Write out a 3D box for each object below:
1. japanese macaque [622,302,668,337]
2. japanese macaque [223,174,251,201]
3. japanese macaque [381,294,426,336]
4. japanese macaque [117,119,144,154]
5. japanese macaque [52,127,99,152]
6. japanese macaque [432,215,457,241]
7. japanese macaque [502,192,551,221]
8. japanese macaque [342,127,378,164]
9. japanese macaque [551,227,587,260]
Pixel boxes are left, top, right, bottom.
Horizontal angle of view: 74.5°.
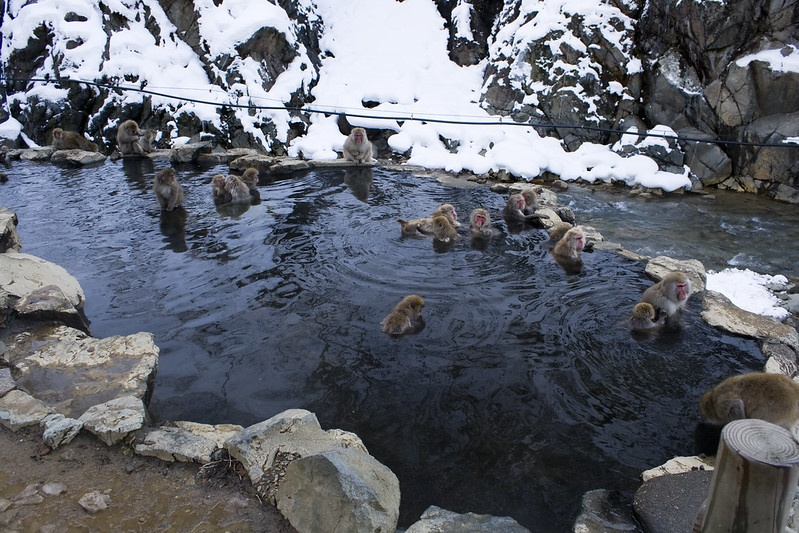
[{"bbox_3d":[3.675,0.758,7.755,0.652,0.404,0.353,-5,16,-18],"label":"japanese macaque"},{"bbox_3d":[-3.727,-1.729,11.921,0.551,0.602,0.294,-5,16,-17],"label":"japanese macaque"},{"bbox_3d":[0.048,0.695,7.774,0.394,0.281,0.649,15,33,27],"label":"japanese macaque"},{"bbox_3d":[-8.037,-3.724,15.424,0.657,0.966,0.479,-4,16,-16],"label":"japanese macaque"},{"bbox_3d":[-9.901,-3.737,15.690,1.209,0.624,0.861,-5,16,-18],"label":"japanese macaque"},{"bbox_3d":[0.836,-0.697,10.067,0.479,0.464,0.299,1,16,2],"label":"japanese macaque"},{"bbox_3d":[2.738,-1.265,11.248,1.078,0.556,0.441,0,36,7],"label":"japanese macaque"},{"bbox_3d":[-1.216,-3.377,14.971,0.764,0.978,0.702,-3,16,-11],"label":"japanese macaque"},{"bbox_3d":[3.048,-0.347,9.505,0.613,0.535,0.470,-5,49,13],"label":"japanese macaque"}]
